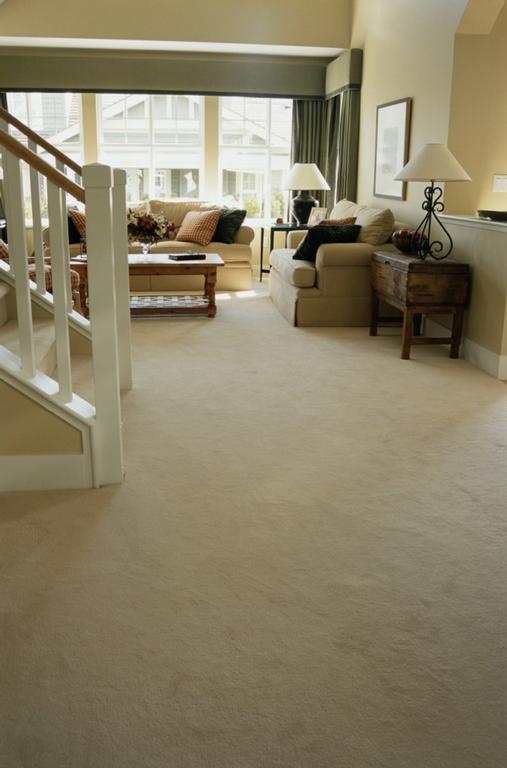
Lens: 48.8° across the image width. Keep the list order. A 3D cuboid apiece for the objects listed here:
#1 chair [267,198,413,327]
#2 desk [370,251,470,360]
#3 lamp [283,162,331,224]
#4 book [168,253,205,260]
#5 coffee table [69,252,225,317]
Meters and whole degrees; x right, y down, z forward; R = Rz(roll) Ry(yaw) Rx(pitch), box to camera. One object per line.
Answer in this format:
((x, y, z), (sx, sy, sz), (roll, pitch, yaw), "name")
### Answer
((0.801, -1.737, 5.704), (1.088, 1.390, 2.104), (-1, 21, -1), "chair")
((1.354, -0.702, 4.762), (0.531, 0.742, 1.049), (1, 16, -1), "desk")
((0.712, -2.656, 7.805), (0.732, 0.934, 0.774), (10, 22, 31), "lamp")
((-0.687, -1.315, 5.784), (0.384, 0.073, 0.291), (-1, 12, -7), "book")
((-1.147, -1.074, 6.007), (1.487, 0.659, 1.707), (-3, 13, -17), "coffee table")
